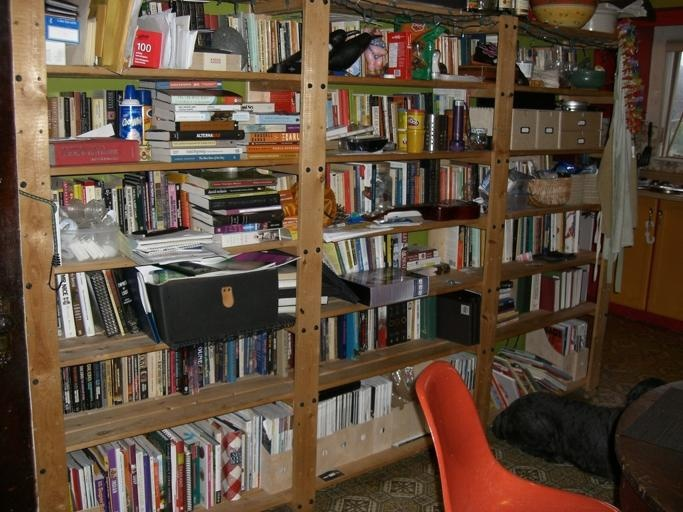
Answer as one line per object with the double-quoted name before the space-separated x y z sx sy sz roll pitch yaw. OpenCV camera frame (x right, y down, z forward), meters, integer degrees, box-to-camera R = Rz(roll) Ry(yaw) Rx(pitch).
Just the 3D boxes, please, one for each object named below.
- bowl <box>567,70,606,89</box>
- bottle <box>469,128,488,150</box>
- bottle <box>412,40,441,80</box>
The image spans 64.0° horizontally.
"bowl" 1.509 -1.092 3.366 0.176 0.078 0.164 1 7 0
"bottle" 0.735 -0.636 2.947 0.118 0.113 0.113 -13 20 -30
"bottle" 0.407 -0.975 2.774 0.212 0.184 0.061 -2 9 -26
